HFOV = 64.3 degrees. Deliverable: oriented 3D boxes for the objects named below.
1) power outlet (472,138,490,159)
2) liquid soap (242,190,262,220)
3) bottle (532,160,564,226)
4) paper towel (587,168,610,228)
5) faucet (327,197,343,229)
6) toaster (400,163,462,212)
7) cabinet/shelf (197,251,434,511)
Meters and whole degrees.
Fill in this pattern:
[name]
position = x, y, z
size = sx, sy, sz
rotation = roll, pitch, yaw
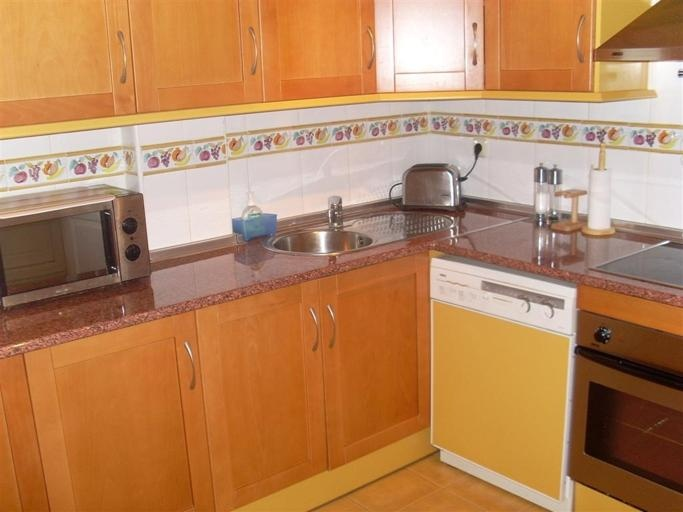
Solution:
[power outlet]
position = 0.774, -0.589, 2.976
size = 0.101, 0.088, 0.024
rotation = 13, 20, 39
[liquid soap]
position = -0.440, -0.247, 2.652
size = 0.142, 0.154, 0.052
rotation = -10, 10, -44
[bottle]
position = 1.015, -0.310, 2.661
size = 0.126, 0.287, 0.279
rotation = 3, 17, 22
[paper towel]
position = 1.163, -0.254, 2.446
size = 0.096, 0.276, 0.070
rotation = 4, 17, 23
[faucet]
position = -0.029, -0.227, 2.776
size = 0.070, 0.156, 0.063
rotation = -4, 16, -4
[toaster]
position = 0.502, -0.378, 3.023
size = 0.323, 0.220, 0.166
rotation = 2, 11, 16
[cabinet/shelf]
position = -0.134, 0.511, 2.298
size = 1.052, 0.827, 0.395
rotation = -13, 20, -34
